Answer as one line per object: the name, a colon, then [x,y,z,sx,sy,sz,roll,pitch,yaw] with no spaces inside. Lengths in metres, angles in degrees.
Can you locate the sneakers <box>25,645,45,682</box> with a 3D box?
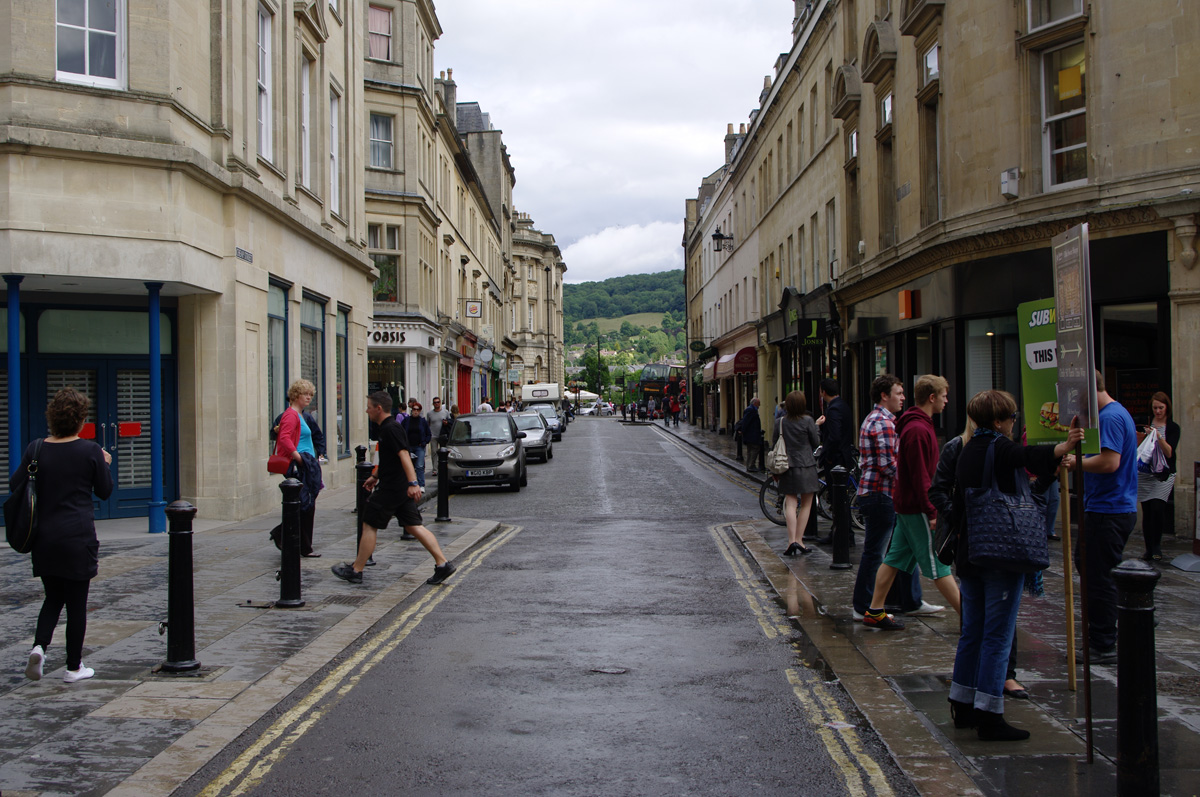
sneakers: [-5.056,2.365,10.741,0.143,0.372,0.158,8,2,-7]

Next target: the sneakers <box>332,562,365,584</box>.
sneakers: [-3.058,2.104,14.518,0.316,0.147,0.199,22,23,18]

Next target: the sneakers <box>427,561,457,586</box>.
sneakers: [-1.947,2.146,14.616,0.382,0.182,0.158,-22,28,41]

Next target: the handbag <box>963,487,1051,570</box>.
handbag: [3.215,1.042,9.538,0.600,0.695,0.278,1,1,8]

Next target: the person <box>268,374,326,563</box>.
person: [-3.981,0.943,15.770,0.601,1.931,1.368,-3,-1,-5]

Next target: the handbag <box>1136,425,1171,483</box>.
handbag: [7.086,0.728,15.313,0.393,0.715,0.602,7,-4,-2]

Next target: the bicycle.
bicycle: [3.316,1.559,19.296,1.888,1.285,0.970,1,-2,19]

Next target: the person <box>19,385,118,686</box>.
person: [-4.879,1.230,10.949,0.771,1.981,0.497,-3,-1,-21]

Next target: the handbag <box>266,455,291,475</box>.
handbag: [-4.124,0.865,15.404,0.278,0.189,0.444,-3,-1,-15]

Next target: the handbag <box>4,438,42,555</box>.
handbag: [-5.206,0.913,10.775,0.266,0.682,0.235,-3,-1,-29]

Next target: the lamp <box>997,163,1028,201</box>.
lamp: [6.754,-3.567,19.846,0.235,0.563,0.449,-3,-1,-24]

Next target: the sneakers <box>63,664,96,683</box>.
sneakers: [-4.709,2.481,10.801,0.283,0.132,0.099,-9,14,-36]

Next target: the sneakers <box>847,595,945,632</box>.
sneakers: [3.046,2.232,12.402,0.603,0.276,0.212,-11,17,-19]
